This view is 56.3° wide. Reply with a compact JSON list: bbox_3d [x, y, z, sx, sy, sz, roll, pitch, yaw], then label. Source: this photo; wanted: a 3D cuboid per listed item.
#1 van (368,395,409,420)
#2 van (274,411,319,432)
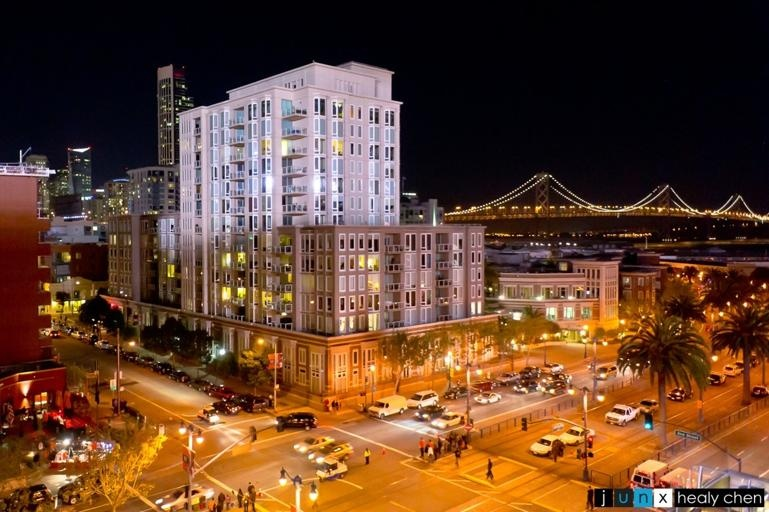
[{"bbox_3d":[0.423,21.241,100.825,4.574,1.782,2.649,4,-5,-38],"label":"van"},{"bbox_3d":[-12.004,22.666,96.549,5.629,2.042,2.728,4,-4,-2],"label":"van"}]
